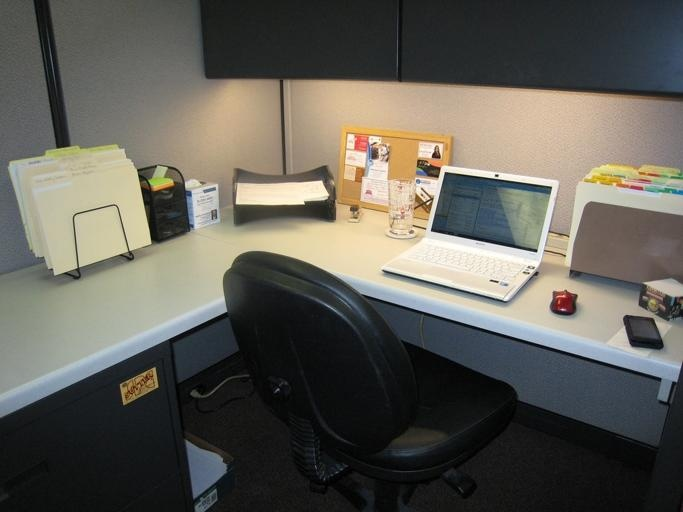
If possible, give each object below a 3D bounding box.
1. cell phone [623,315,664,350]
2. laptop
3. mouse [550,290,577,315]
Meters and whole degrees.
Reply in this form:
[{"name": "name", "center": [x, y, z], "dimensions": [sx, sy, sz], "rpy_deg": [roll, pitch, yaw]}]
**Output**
[{"name": "cell phone", "center": [0.745, 0.178, 1.234], "dimensions": [0.067, 0.119, 0.022], "rpy_deg": [-1, 50, 42]}, {"name": "laptop", "center": [0.400, -0.095, 1.540], "dimensions": [0.502, 0.282, 0.556], "rpy_deg": [1, 18, 1]}, {"name": "mouse", "center": [0.597, 0.124, 1.343], "dimensions": [0.063, 0.043, 0.078], "rpy_deg": [11, 23, 22]}]
